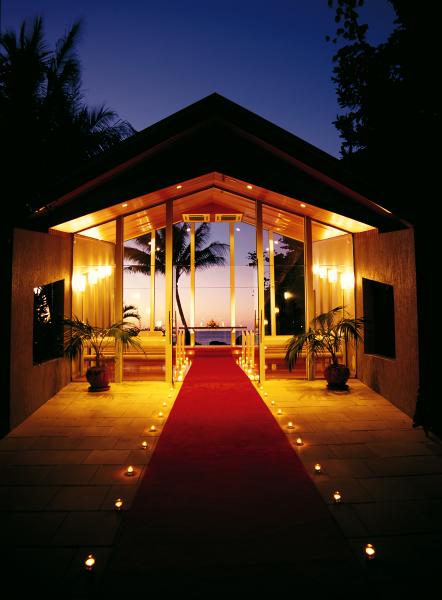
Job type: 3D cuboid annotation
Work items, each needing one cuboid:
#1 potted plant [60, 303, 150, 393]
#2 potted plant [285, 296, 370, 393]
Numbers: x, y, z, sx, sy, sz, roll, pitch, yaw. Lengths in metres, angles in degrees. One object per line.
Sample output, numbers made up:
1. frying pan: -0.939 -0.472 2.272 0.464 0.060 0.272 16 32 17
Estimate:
1. potted plant: -1.878 0.848 6.766 1.132 1.228 1.246 0 -9 -15
2. potted plant: 1.758 0.768 7.203 1.142 1.253 1.433 -1 -2 19
